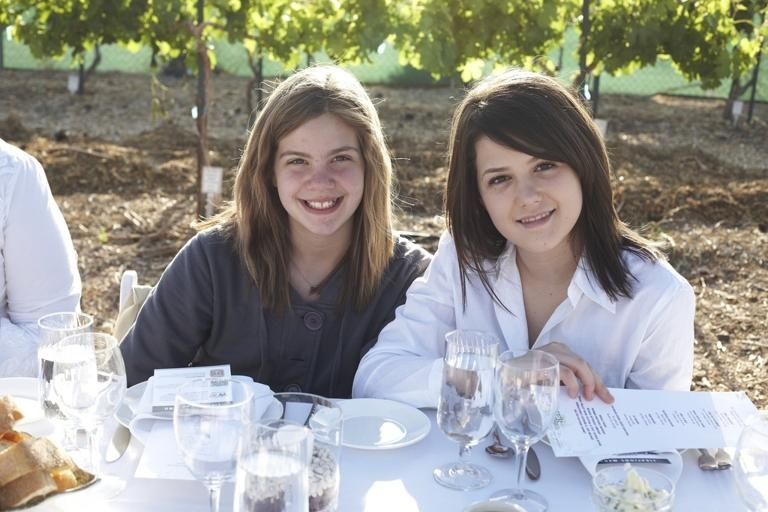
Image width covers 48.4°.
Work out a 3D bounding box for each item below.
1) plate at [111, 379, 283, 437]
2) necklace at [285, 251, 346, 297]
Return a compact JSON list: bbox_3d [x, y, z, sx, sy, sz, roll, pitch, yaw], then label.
[{"bbox_3d":[-0.942,0.676,3.750,0.404,0.073,0.344,0,20,1],"label":"plate"},{"bbox_3d":[-0.440,0.121,4.529,0.184,0.256,0.067,-6,-8,3],"label":"necklace"}]
